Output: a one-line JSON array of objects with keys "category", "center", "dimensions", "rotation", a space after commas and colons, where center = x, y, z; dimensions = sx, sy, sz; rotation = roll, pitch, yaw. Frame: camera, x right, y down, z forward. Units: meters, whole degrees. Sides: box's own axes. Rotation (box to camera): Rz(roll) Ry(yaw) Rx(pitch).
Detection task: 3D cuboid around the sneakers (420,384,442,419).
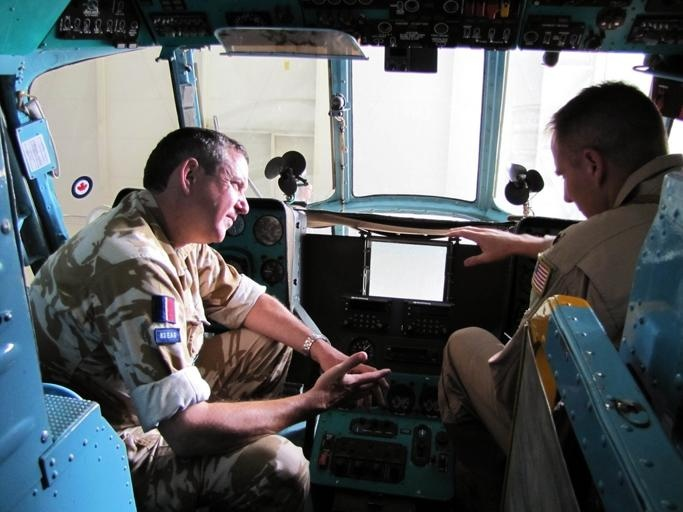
[{"category": "sneakers", "center": [0.493, 0.807, 2.879], "dimensions": [0.118, 0.154, 0.148], "rotation": [1, -15, 10]}]
